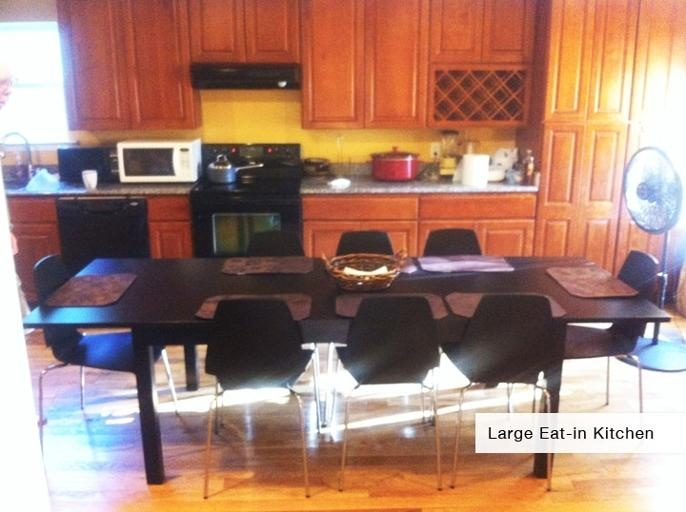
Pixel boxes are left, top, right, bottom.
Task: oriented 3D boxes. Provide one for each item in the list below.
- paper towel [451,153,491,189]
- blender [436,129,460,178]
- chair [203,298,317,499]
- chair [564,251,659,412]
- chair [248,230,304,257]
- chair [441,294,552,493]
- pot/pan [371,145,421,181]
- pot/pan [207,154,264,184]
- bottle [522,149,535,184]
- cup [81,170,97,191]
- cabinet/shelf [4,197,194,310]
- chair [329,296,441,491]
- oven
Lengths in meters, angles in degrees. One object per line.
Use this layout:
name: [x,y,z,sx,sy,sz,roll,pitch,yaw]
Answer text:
paper towel: [1.095,-0.714,4.801,0.304,0.247,0.296,1,13,4]
blender: [0.918,-0.920,5.204,0.270,0.412,0.284,6,10,19]
chair: [-0.436,0.606,2.918,0.616,0.996,0.651,-5,14,-5]
chair: [1.339,0.453,3.125,0.436,0.585,0.408,5,16,24]
chair: [-0.417,-0.103,3.558,0.238,0.184,0.252,0,10,-5]
chair: [0.779,0.602,2.897,0.528,0.980,0.535,-2,14,7]
pot/pan: [0.455,-0.783,4.890,0.332,0.202,0.317,-4,11,-24]
pot/pan: [-0.854,-0.720,4.846,0.587,0.236,0.218,2,14,0]
bottle: [1.533,-0.727,4.763,0.090,0.276,0.162,1,14,16]
cup: [-2.038,-0.605,4.672,0.108,0.157,0.305,-9,14,-23]
cabinet/shelf: [-1.933,-0.214,4.829,1.476,1.110,0.750,-1,6,-1]
chair: [0.225,0.607,2.873,0.525,0.982,0.558,-2,14,5]
oven: [-0.814,-0.248,4.591,0.780,0.429,0.485,0,17,-2]
